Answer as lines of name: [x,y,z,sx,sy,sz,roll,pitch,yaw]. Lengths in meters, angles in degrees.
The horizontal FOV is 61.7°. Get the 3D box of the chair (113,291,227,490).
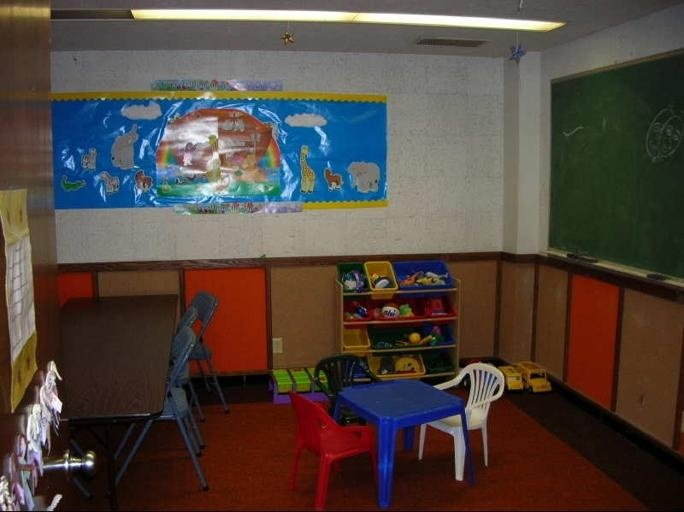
chair: [-1.188,0.924,3.895,0.361,0.524,1.051,2,9,-5]

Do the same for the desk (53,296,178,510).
desk: [-1.230,0.836,3.163,0.497,0.335,1.328,-2,14,-10]

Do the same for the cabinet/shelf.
cabinet/shelf: [0.482,0.621,5.031,0.891,0.880,0.333,0,-1,-10]

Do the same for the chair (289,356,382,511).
chair: [-0.055,1.080,3.763,0.560,0.742,0.990,1,10,3]

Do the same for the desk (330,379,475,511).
desk: [0.363,0.973,3.613,0.704,0.546,0.710,-7,18,-30]
